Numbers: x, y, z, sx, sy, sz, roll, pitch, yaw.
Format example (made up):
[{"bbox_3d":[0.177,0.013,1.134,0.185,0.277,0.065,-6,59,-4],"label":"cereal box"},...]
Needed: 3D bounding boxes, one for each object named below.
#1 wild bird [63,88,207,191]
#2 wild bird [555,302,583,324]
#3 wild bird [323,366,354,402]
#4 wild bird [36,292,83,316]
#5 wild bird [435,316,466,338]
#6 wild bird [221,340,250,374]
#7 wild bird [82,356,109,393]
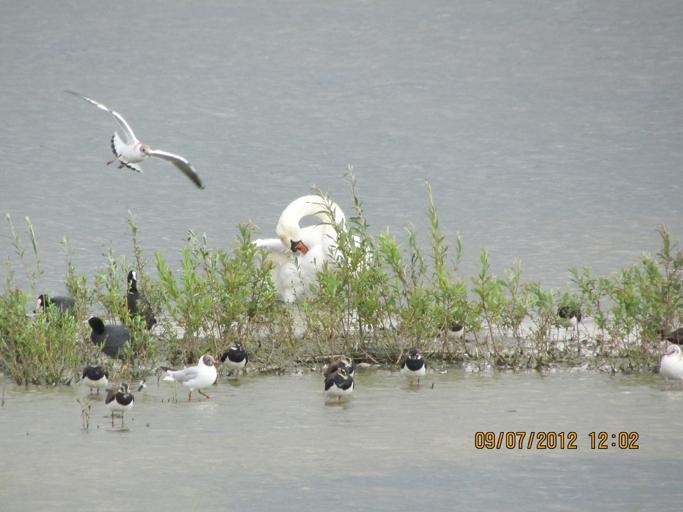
[{"bbox_3d":[-3.706,-1.898,18.552,2.830,0.739,1.496,37,-12,-26],"label":"wild bird"},{"bbox_3d":[3.593,0.941,16.949,0.439,0.584,0.416,-4,12,15],"label":"wild bird"},{"bbox_3d":[-0.077,1.705,13.827,0.382,0.453,0.483,0,12,-1],"label":"wild bird"},{"bbox_3d":[-4.393,0.716,16.211,0.684,0.376,0.363,8,34,1],"label":"wild bird"},{"bbox_3d":[1.639,1.152,16.364,0.225,0.353,0.601,12,-8,3],"label":"wild bird"},{"bbox_3d":[-1.556,1.465,14.921,0.301,0.397,0.525,2,22,-10],"label":"wild bird"},{"bbox_3d":[-3.305,1.608,14.113,0.260,0.377,0.630,0,4,-8],"label":"wild bird"}]
